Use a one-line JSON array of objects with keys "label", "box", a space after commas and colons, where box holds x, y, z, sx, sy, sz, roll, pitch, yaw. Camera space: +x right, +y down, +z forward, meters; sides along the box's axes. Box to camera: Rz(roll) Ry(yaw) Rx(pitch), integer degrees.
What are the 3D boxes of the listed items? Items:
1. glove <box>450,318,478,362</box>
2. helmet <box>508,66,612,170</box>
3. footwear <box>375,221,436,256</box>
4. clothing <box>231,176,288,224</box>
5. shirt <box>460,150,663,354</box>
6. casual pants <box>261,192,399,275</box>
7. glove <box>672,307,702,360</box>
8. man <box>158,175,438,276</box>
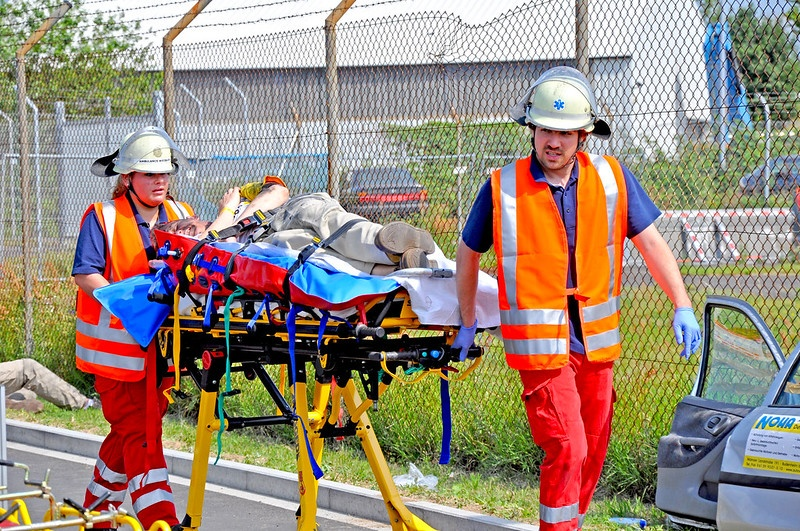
[{"label": "glove", "box": [0.490, 0.571, 9.852, 0.163, 0.292, 0.094, 20, 7, -10]}, {"label": "helmet", "box": [1.209, -1.106, 9.651, 0.625, 0.369, 0.649, 12, 22, 13]}, {"label": "footwear", "box": [0.063, -0.207, 9.918, 0.525, 0.250, 0.170, -3, 4, -38]}, {"label": "clothing", "box": [-1.165, -0.661, 11.305, 0.436, 0.280, 0.921, 3, 6, -5]}, {"label": "shirt", "box": [1.242, -0.139, 9.967, 1.754, 1.863, 0.649, -4, 2, -8]}, {"label": "casual pants", "box": [-0.587, -0.261, 10.139, 0.552, 0.308, 1.117, -36, 38, -28]}, {"label": "glove", "box": [2.156, 0.518, 9.711, 0.110, 0.342, 0.256, -11, 18, 49]}, {"label": "man", "box": [-0.714, -0.300, 10.277, 1.729, 0.429, 0.952, 13, 5, 42]}]
